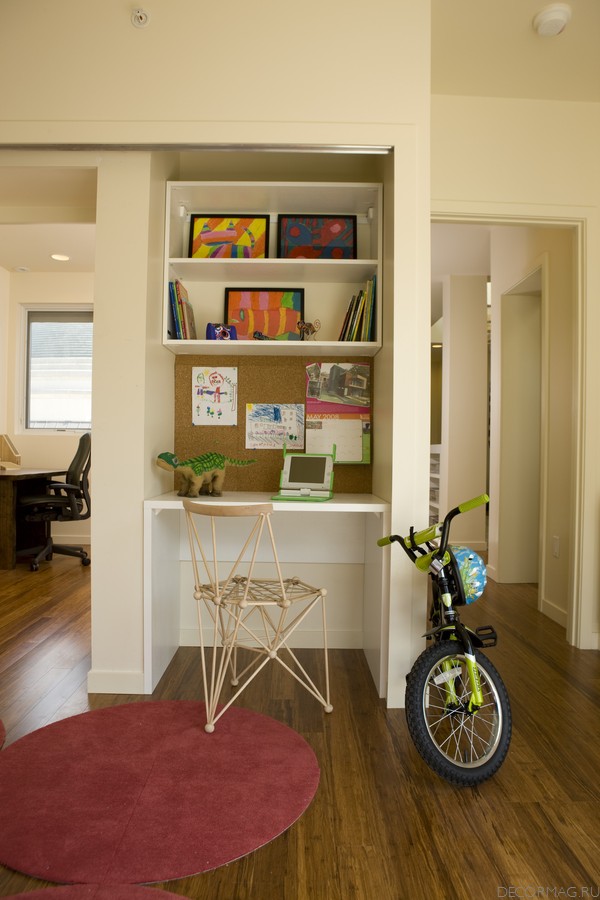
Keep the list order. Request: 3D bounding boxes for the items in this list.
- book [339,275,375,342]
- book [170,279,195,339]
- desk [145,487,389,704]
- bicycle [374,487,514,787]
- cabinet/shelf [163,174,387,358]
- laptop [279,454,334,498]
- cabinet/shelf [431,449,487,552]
[{"bbox_3d":[0.254,-0.584,2.834,0.051,0.248,0.220,4,3,-9],"label":"book"},{"bbox_3d":[-0.511,-0.586,2.950,0.096,0.265,0.317,0,2,-5],"label":"book"},{"bbox_3d":[-0.129,0.557,2.849,0.921,0.811,0.545,1,1,0],"label":"desk"},{"bbox_3d":[0.370,0.546,2.183,0.393,0.875,0.503,-10,0,38],"label":"bicycle"},{"bbox_3d":[-0.105,-0.776,2.935,0.827,0.694,0.281,1,-1,1],"label":"cabinet/shelf"},{"bbox_3d":[0.025,0.110,2.776,0.204,0.165,0.237,0,2,1],"label":"laptop"},{"bbox_3d":[1.232,0.375,5.138,0.253,0.859,0.773,1,-2,-3],"label":"cabinet/shelf"}]
